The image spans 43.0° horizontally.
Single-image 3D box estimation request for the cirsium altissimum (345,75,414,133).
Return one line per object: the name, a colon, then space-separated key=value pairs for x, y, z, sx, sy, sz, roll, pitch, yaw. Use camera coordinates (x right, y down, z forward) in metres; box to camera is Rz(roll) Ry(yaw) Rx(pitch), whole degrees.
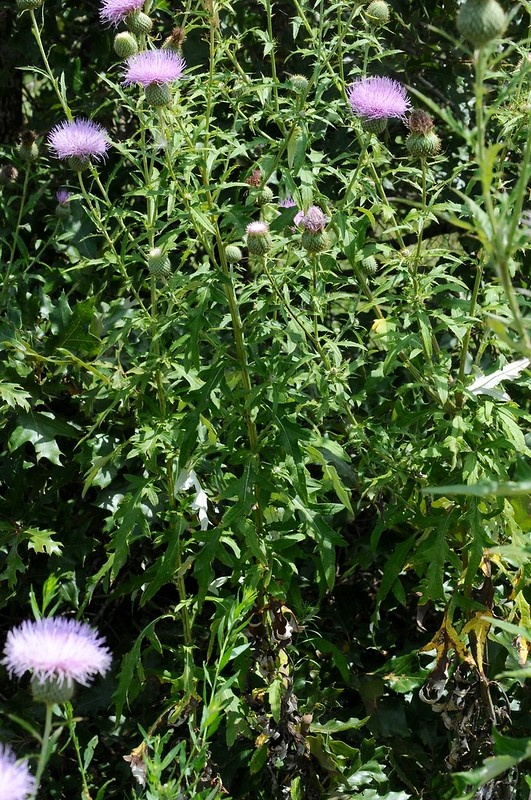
cirsium altissimum: x=0.263 y=-0.708 z=1.596 sx=0.132 sy=0.110 sz=0.234 roll=12 pitch=39 yaw=2
